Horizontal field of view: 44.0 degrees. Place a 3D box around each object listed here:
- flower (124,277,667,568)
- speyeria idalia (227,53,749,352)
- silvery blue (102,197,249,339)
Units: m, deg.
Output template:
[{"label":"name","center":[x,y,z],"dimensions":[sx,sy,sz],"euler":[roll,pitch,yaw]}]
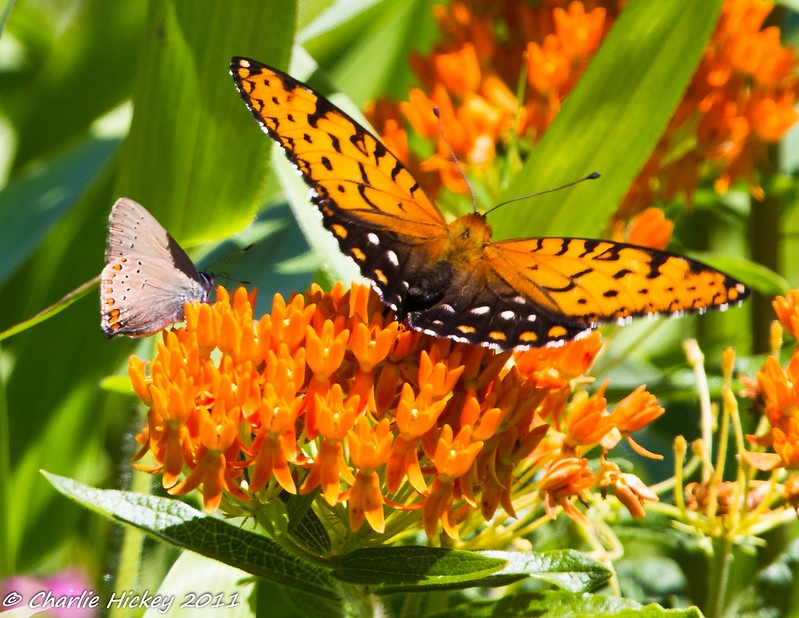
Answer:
[{"label":"flower","center":[-0.008,0.169,1.362],"dimensions":[0.719,0.333,0.319],"euler":[6,29,4]},{"label":"speyeria idalia","center":[0.094,-0.184,1.533],"dimensions":[0.655,0.471,0.565],"euler":[-2,13,-13]},{"label":"silvery blue","center":[-0.376,-0.081,1.559],"dimensions":[0.168,0.264,0.110],"euler":[-7,12,-43]}]
